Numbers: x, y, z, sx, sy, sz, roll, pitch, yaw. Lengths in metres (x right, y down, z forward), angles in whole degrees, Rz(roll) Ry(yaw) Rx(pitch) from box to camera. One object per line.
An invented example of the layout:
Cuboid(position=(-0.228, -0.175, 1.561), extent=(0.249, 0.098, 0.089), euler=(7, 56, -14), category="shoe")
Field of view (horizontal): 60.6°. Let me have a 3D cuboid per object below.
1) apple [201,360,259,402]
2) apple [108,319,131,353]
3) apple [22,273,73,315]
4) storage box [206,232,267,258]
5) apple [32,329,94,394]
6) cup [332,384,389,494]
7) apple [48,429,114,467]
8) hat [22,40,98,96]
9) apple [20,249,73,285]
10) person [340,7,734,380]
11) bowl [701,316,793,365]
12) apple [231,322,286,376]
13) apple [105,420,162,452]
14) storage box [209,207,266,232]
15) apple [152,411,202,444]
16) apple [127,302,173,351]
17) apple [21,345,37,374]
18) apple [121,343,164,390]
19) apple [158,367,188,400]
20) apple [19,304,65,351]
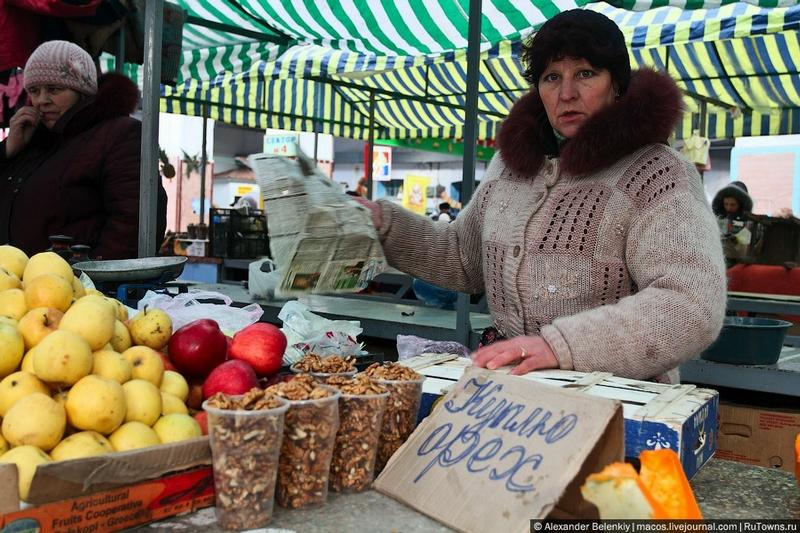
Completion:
Cuboid(position=(-0.435, 0.312, 1.764), extent=(0.107, 0.133, 0.116), euler=(2, -12, 1), category="apple")
Cuboid(position=(-0.722, 0.181, 1.773), extent=(0.066, 0.080, 0.066), euler=(-3, 4, -4), category="apple")
Cuboid(position=(-0.898, 0.068, 1.785), extent=(0.090, 0.095, 0.096), euler=(1, -7, -35), category="apple")
Cuboid(position=(-1.483, -0.195, 6.129), extent=(0.593, 0.246, 0.210), euler=(4, 5, 7), category="storage box")
Cuboid(position=(-0.772, 0.209, 1.573), extent=(0.125, 0.121, 0.133), euler=(3, 1, 6), category="apple")
Cuboid(position=(-0.113, 0.404, 1.684), extent=(0.165, 0.236, 0.170), euler=(-3, 4, 0), category="cup")
Cuboid(position=(-0.696, 0.392, 1.491), extent=(0.088, 0.080, 0.101), euler=(2, 18, -4), category="apple")
Cuboid(position=(-1.815, -1.074, 3.669), extent=(0.381, 0.278, 0.368), euler=(6, 10, 10), category="hat")
Cuboid(position=(-0.967, -0.002, 1.884), extent=(0.114, 0.129, 0.106), euler=(-2, 6, -22), category="apple")
Cuboid(position=(0.495, -0.277, 2.236), extent=(0.598, 1.130, 1.014), euler=(-1, 7, -42), category="person")
Cuboid(position=(1.848, 0.322, 3.590), extent=(0.411, 0.161, 0.348), euler=(3, -4, -41), category="bowl")
Cuboid(position=(-0.378, 0.216, 1.912), extent=(0.155, 0.133, 0.134), euler=(5, -13, 2), category="apple")
Cuboid(position=(-0.602, 0.376, 1.570), extent=(0.078, 0.078, 0.093), euler=(20, -1, 26), category="apple")
Cuboid(position=(-1.472, -0.434, 6.179), extent=(0.519, 0.214, 0.357), euler=(3, 5, -10), category="storage box")
Cuboid(position=(-0.523, 0.378, 1.610), extent=(0.074, 0.075, 0.072), euler=(-3, -3, 11), category="apple")
Cuboid(position=(-0.667, 0.170, 1.869), extent=(0.098, 0.101, 0.096), euler=(2, 32, 45), category="apple")
Cuboid(position=(-0.867, 0.219, 1.602), extent=(0.045, 0.056, 0.047), euler=(-15, -16, 27), category="apple")
Cuboid(position=(-0.632, 0.238, 1.743), extent=(0.091, 0.095, 0.097), euler=(-29, -20, -7), category="apple")
Cuboid(position=(-0.566, 0.299, 1.755), extent=(0.069, 0.067, 0.066), euler=(3, -18, 5), category="apple")
Cuboid(position=(-0.882, 0.139, 1.677), extent=(0.094, 0.099, 0.113), euler=(7, -30, -13), category="apple")
